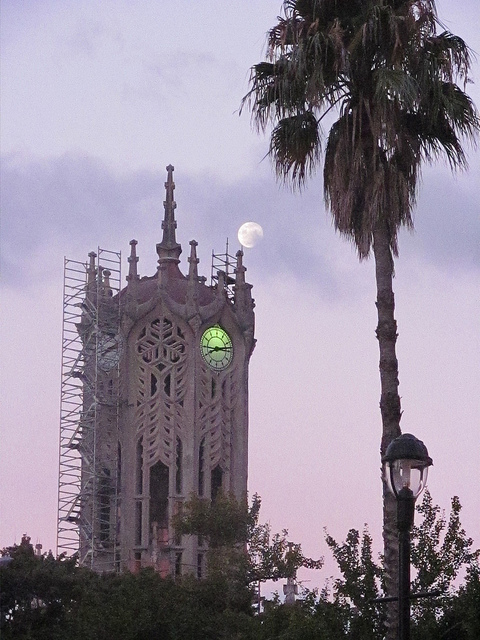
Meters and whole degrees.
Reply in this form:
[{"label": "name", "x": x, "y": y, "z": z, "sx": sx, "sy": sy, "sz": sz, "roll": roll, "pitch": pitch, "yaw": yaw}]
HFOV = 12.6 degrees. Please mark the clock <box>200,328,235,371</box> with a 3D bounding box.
[{"label": "clock", "x": -1.245, "y": 1.339, "z": 100.471, "sx": 0.112, "sy": 1.812, "sz": 1.481, "roll": -17, "pitch": -19, "yaw": 36}]
